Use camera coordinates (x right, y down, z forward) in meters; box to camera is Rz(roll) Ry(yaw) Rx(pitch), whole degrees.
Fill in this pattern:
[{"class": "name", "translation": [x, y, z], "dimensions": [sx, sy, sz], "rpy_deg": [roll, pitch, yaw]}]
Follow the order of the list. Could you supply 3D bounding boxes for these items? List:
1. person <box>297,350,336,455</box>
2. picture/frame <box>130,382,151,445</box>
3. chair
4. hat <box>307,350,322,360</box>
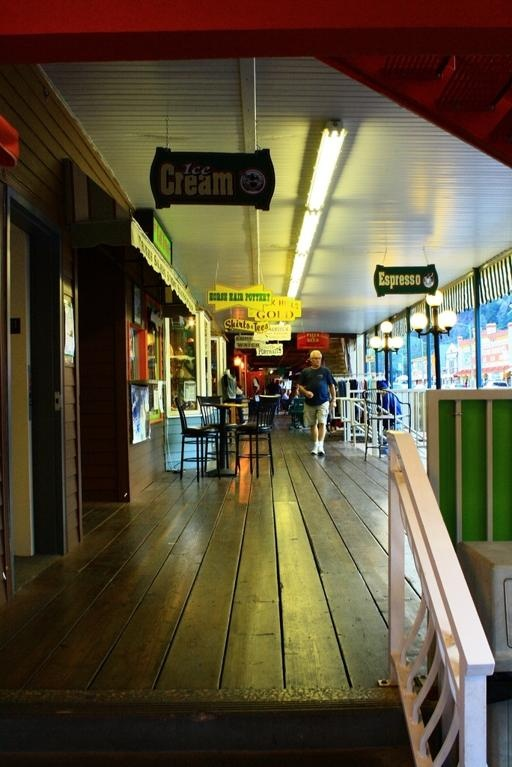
[{"class": "person", "translation": [0.937, 0.285, 8.366], "dimensions": [0.457, 1.623, 0.458], "rpy_deg": [-6, 8, -35]}, {"class": "picture/frame", "translation": [-1.095, 0.282, 5.452], "dimensions": [0.022, 0.587, 0.851], "rpy_deg": [-2, -6, -28]}, {"class": "chair", "translation": [-0.358, 0.710, 6.861], "dimensions": [1.009, 0.877, 1.077], "rpy_deg": [-1, -1, 21]}, {"class": "hat", "translation": [0.887, -0.468, 8.243], "dimensions": [0.143, 0.207, 0.192], "rpy_deg": [-1, -14, -4]}]
